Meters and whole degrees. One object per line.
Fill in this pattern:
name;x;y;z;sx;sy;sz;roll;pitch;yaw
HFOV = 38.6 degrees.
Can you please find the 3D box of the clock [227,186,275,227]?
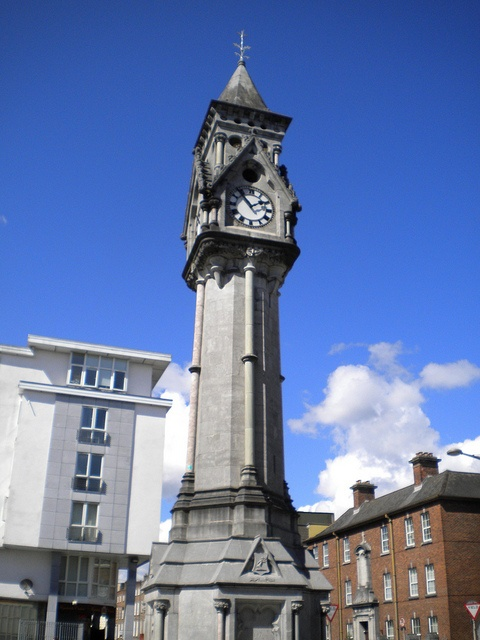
clock;0.467;-5.522;33.767;2.415;2.330;0.212;-8;-23;-39
